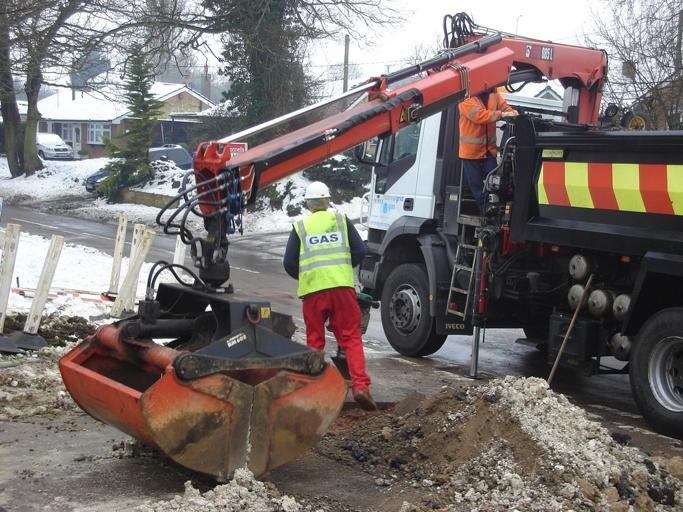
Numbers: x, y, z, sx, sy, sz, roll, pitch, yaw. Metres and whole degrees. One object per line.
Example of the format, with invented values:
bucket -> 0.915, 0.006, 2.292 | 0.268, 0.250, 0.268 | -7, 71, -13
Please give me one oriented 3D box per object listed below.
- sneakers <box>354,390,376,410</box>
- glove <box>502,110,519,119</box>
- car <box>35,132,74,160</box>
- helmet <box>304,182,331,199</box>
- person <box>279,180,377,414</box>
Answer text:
sneakers -> 0.229, 1.419, 5.689 | 0.134, 0.121, 0.317 | 19, -8, -11
glove -> 1.990, -1.654, 6.872 | 0.199, 0.089, 0.205 | 1, 6, -25
car -> -19.861, -7.344, 39.679 | 1.465, 1.286, 3.169 | -4, 8, -34
helmet -> -0.264, -0.655, 6.069 | 0.197, 0.146, 0.265 | -2, 11, -6
person -> -0.119, 0.398, 5.896 | 0.939, 2.244, 0.620 | 2, 5, 0
